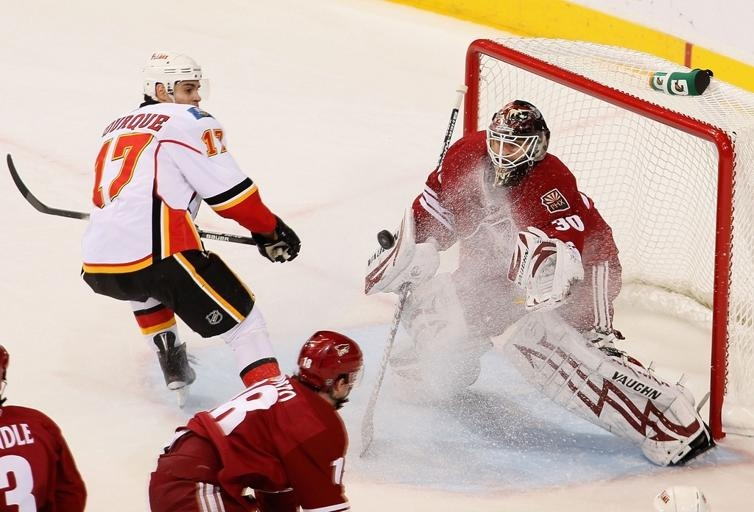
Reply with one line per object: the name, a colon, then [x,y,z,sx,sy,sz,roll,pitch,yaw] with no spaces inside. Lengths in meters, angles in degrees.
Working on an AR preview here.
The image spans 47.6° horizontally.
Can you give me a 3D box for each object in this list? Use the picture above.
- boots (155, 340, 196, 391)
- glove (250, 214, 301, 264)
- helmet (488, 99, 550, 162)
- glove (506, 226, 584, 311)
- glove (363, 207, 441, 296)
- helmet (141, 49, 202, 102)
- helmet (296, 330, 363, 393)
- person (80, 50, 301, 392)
boots: [-1.041,0.553,4.288,0.183,0.242,0.273,-8,-9,2]
glove: [-0.459,-0.048,4.124,0.234,0.096,0.225,21,-23,28]
helmet: [0.707,-0.632,4.339,0.318,0.297,0.388,12,29,18]
glove: [0.811,0.091,4.097,0.329,0.377,0.175,-4,-26,29]
glove: [0.140,0.013,4.404,0.195,0.463,0.307,19,22,-39]
helmet: [-0.977,-0.880,4.174,0.331,0.226,0.254,9,20,27]
helmet: [-0.187,0.430,3.355,0.275,0.227,0.221,4,9,-36]
person: [-0.909,-0.136,3.997,0.967,1.636,0.452,-8,8,0]
